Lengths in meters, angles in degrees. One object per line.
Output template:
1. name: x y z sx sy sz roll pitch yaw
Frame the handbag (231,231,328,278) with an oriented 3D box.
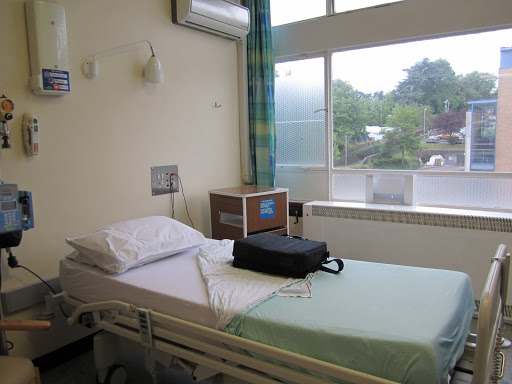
1. handbag: 0.152 0.425 2.669 0.401 0.148 0.319 3 7 31

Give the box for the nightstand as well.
1. nightstand: -0.082 0.080 4.164 0.603 0.620 0.611 5 12 41

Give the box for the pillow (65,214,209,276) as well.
1. pillow: -0.966 0.389 3.161 0.728 0.286 0.948 4 12 38

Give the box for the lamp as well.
1. lamp: -1.076 -1.167 3.501 0.841 0.497 0.258 -5 18 -34
